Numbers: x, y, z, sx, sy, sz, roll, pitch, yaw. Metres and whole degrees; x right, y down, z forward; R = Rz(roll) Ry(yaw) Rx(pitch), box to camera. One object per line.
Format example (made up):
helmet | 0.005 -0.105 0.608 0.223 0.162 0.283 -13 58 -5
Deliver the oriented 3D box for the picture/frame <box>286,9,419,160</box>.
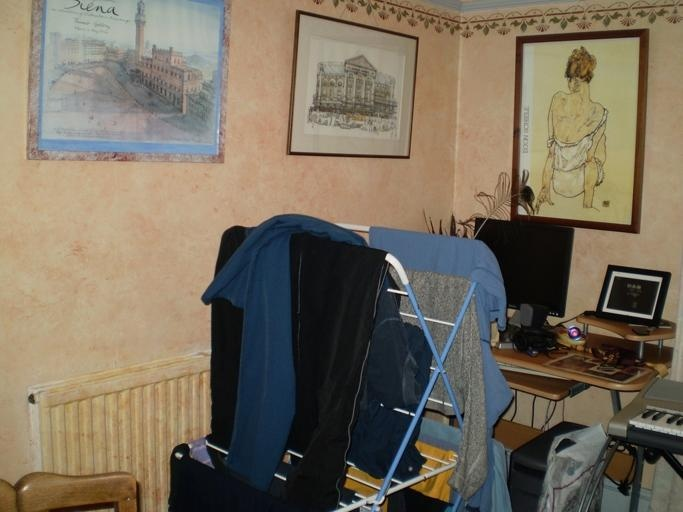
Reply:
picture/frame | 0.034 -0.946 3.685 0.837 0.735 0.017 -7 19 -41

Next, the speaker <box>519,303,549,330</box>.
speaker | 1.036 0.323 3.613 0.120 0.135 0.125 0 -4 -6

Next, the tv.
tv | 0.959 0.091 3.485 0.048 0.464 0.552 1 4 -32

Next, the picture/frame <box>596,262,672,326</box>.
picture/frame | 1.592 0.216 3.625 0.306 0.332 0.030 4 -19 46
